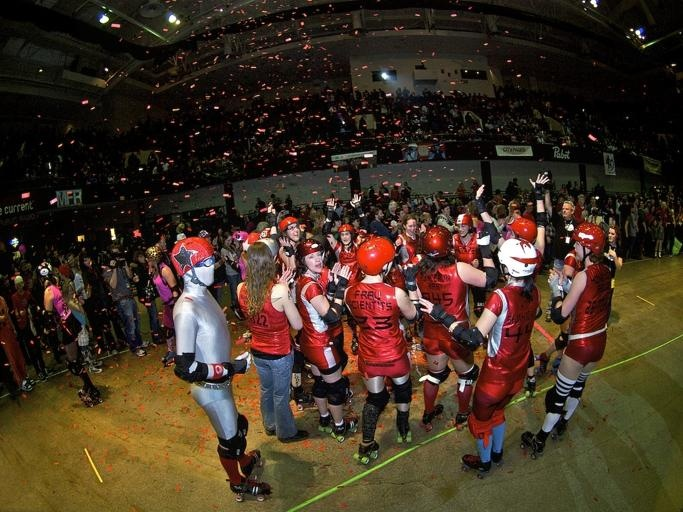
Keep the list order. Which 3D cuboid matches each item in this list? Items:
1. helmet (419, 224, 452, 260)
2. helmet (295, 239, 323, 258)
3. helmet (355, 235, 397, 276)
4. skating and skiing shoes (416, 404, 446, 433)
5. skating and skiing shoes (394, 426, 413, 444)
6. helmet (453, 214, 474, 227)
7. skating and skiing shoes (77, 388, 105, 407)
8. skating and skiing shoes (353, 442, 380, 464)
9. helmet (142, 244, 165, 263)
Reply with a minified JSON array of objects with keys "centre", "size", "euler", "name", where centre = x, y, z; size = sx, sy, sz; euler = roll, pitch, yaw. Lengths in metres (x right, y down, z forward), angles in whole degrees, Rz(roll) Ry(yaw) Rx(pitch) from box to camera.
[{"centre":[1.358,-0.199,5.947],"size":[0.460,0.469,0.306],"euler":[-9,7,-39],"name":"helmet"},{"centre":[-0.507,-0.115,6.089],"size":[0.423,0.273,0.367],"euler":[-3,5,15],"name":"helmet"},{"centre":[0.439,0.002,5.467],"size":[0.462,0.492,0.244],"euler":[-4,6,3],"name":"helmet"},{"centre":[1.367,2.511,6.475],"size":[0.171,0.240,0.529],"euler":[12,47,36],"name":"skating and skiing shoes"},{"centre":[0.921,2.664,6.180],"size":[0.253,0.232,0.213],"euler":[-5,6,-6],"name":"skating and skiing shoes"},{"centre":[2.291,-0.684,7.930],"size":[0.297,0.247,0.214],"euler":[-13,7,-37],"name":"helmet"},{"centre":[-4.586,2.608,7.729],"size":[0.465,0.287,0.238],"euler":[2,17,28],"name":"skating and skiing shoes"},{"centre":[0.328,2.799,5.851],"size":[0.214,0.185,0.402],"euler":[-4,-7,30],"name":"skating and skiing shoes"},{"centre":[-4.081,-0.025,9.123],"size":[0.370,0.431,0.478],"euler":[7,29,-24],"name":"helmet"}]
